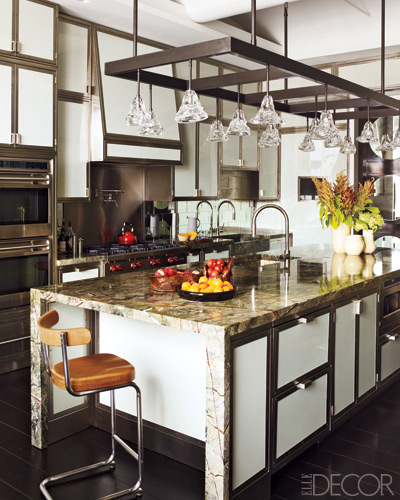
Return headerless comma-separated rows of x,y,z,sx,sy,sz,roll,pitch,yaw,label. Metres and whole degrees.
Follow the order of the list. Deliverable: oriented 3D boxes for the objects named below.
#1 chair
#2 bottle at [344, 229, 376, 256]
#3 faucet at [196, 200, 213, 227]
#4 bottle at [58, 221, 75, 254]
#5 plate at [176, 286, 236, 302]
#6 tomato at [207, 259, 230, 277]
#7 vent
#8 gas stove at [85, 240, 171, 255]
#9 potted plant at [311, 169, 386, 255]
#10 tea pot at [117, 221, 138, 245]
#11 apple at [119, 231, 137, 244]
-0.462,0.661,2.047,0.505,0.568,0.747,1,1,-17,chair
1.411,-0.075,3.934,0.281,0.258,0.192,1,-1,-30,bottle
0.041,-0.492,6.041,0.148,0.299,0.642,1,1,17,faucet
-1.290,-0.124,4.353,0.131,0.219,0.297,1,1,-5,bottle
0.025,0.214,2.200,0.281,0.047,0.185,1,1,2,plate
0.093,0.093,2.380,0.088,0.042,0.103,3,-8,-35,tomato
-0.573,-1.292,4.678,0.083,0.759,1.064,14,15,40,vent
-0.818,-0.025,4.679,0.585,0.103,1.054,2,1,36,gas stove
1.261,-0.305,3.970,0.619,0.680,0.400,1,1,-3,potted plant
-0.819,-0.175,5.034,0.155,0.235,0.268,0,-4,-9,tea pot
-0.802,-0.138,4.994,0.141,0.115,0.143,0,-2,3,apple
